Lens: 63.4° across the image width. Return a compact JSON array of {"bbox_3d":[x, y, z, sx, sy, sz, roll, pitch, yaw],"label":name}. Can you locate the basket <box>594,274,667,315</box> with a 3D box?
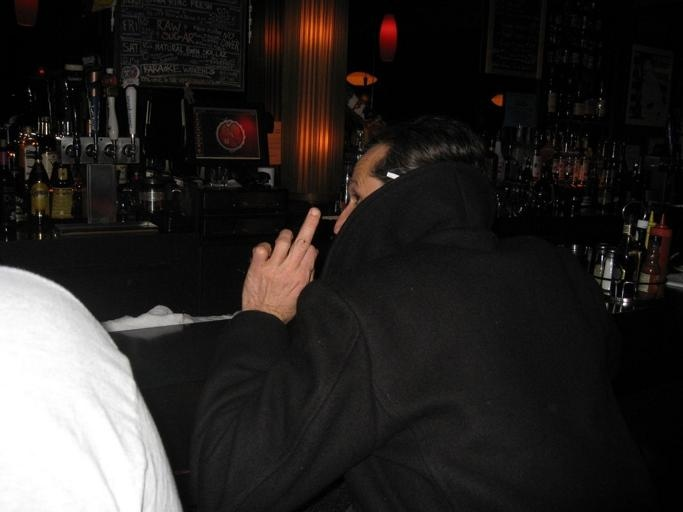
[{"bbox_3d":[1.080,0.152,2.043,0.325,0.110,0.330,2,2,36],"label":"basket"}]
